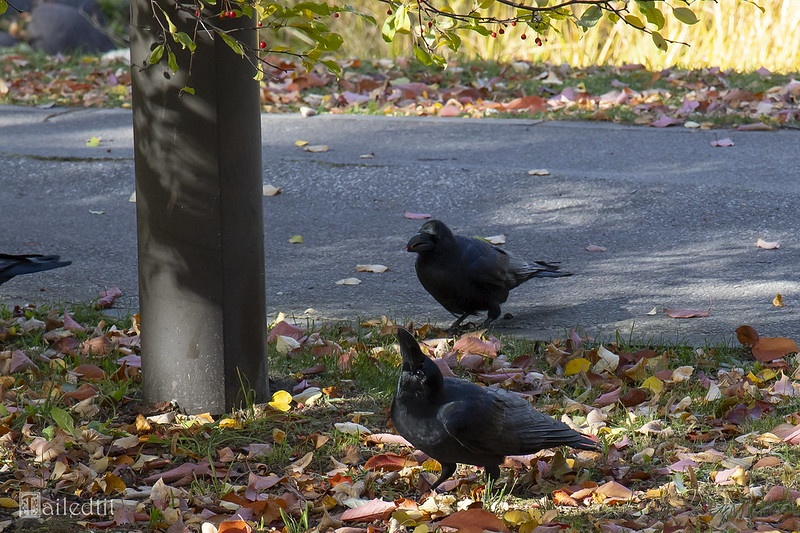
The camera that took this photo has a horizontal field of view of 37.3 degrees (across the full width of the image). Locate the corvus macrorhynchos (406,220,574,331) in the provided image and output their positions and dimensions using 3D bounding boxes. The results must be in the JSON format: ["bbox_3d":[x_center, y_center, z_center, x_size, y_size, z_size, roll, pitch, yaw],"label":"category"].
[{"bbox_3d":[0.606,0.005,8.574,1.656,0.728,0.549,-8,18,-42],"label":"corvus macrorhynchos"}]

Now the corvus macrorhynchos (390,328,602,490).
[{"bbox_3d":[0.542,0.852,6.983,1.438,0.809,0.779,5,6,-33],"label":"corvus macrorhynchos"}]
